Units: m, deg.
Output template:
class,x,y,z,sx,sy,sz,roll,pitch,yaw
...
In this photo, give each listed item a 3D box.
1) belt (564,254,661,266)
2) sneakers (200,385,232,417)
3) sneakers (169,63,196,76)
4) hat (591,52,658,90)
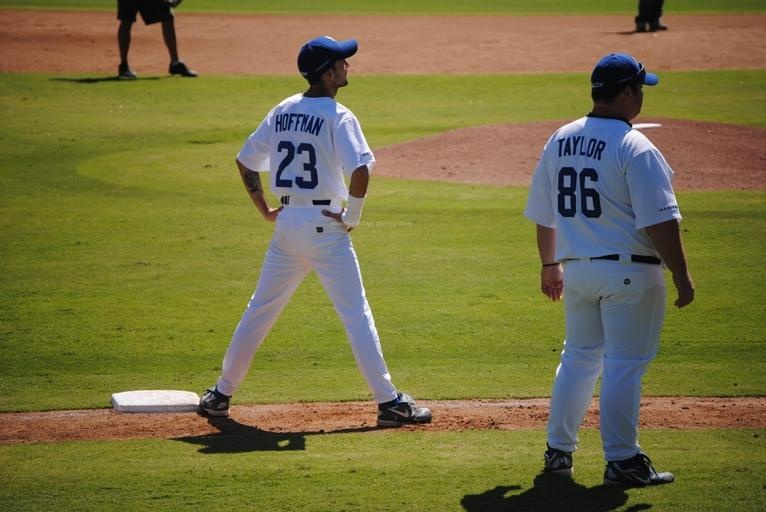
class,x,y,z,sx,sy,sz,roll,pitch,yaw
belt,2.668,0.031,16.781,1.036,0.127,0.136,2,15,6
sneakers,-2.043,1.774,17.724,0.242,0.256,0.470,0,7,-24
sneakers,-3.759,-3.466,27.450,0.632,0.241,0.197,-3,14,-12
hat,2.774,-2.127,16.946,0.716,0.290,0.435,-2,15,-9
